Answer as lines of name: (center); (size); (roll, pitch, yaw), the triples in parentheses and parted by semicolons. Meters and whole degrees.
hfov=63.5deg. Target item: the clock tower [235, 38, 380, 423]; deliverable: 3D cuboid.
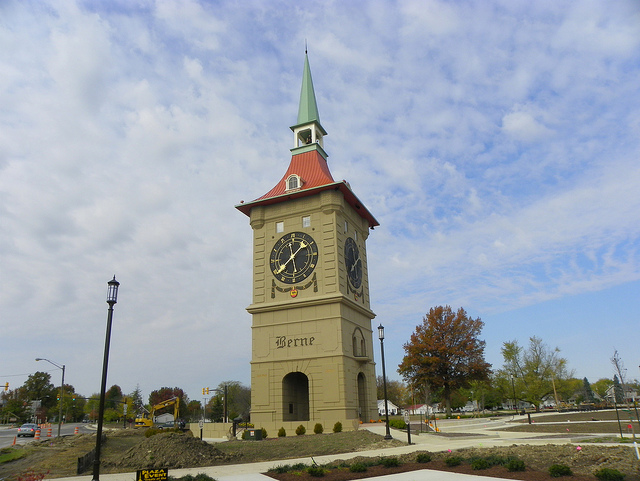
clock tower: (-1.196, -2.713, 51.799); (11.814, 39.374, 8.248); (1, -22, -9)

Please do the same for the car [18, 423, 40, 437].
car: (-33.501, 21.588, 59.062); (1.822, 1.504, 4.273); (10, -26, -27)
